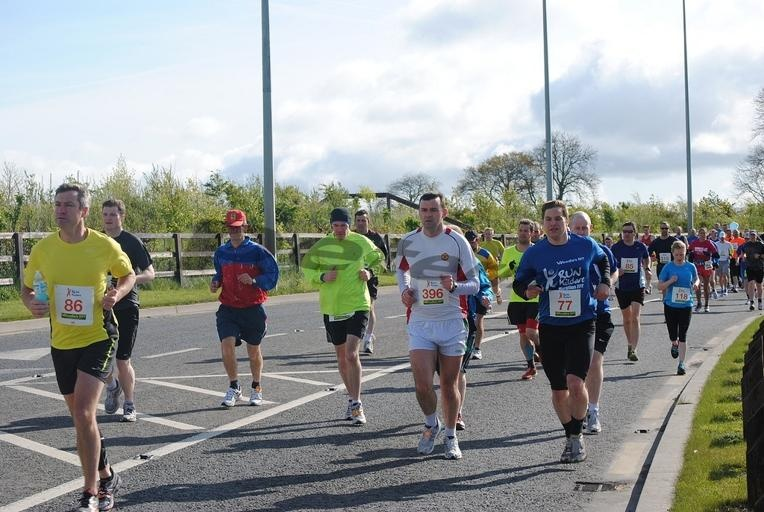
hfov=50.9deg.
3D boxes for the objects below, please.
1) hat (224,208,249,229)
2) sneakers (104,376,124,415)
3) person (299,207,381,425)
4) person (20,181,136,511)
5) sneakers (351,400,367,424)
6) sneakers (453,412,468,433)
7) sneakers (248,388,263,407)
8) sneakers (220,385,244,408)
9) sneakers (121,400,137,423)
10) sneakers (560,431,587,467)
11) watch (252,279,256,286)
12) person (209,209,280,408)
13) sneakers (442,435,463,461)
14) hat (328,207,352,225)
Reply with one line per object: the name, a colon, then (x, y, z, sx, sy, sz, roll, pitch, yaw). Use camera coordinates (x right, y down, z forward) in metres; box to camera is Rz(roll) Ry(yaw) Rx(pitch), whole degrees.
hat: (-1.914, -0.484, 10.446, 0.338, 0.278, 0.524, 0, 0, 5)
sneakers: (-3.245, 1.709, 9.813, 0.171, 0.481, 0.199, -2, -18, 10)
person: (-0.504, 0.664, 9.632, 0.840, 2.435, 0.927, -1, 5, -6)
person: (-2.841, 0.809, 7.370, 0.886, 2.936, 0.790, -2, 5, -9)
sneakers: (-0.267, 1.805, 9.476, 0.176, 0.233, 0.445, -1, 6, -1)
sneakers: (0.905, 1.905, 9.173, 0.117, 0.140, 0.323, -2, -16, 7)
sneakers: (-1.604, 1.799, 10.181, 0.139, 0.174, 0.393, 0, -8, -2)
sneakers: (-1.914, 1.752, 10.152, 0.222, 0.218, 0.419, -1, 6, 0)
sneakers: (-2.979, 1.832, 9.469, 0.115, 0.138, 0.316, 1, -3, -14)
sneakers: (1.991, 1.959, 8.254, 0.328, 0.272, 0.201, -1, 6, -7)
watch: (-1.604, 0.324, 10.065, 0.016, 0.067, 0.070, -15, 18, 31)
person: (-1.742, 0.631, 10.240, 0.842, 2.425, 0.707, -2, 5, -10)
sneakers: (0.755, 1.978, 8.395, 0.188, 0.201, 0.295, 0, 6, 3)
hat: (-0.520, -0.501, 9.882, 0.203, 0.159, 0.196, -2, 8, -19)
